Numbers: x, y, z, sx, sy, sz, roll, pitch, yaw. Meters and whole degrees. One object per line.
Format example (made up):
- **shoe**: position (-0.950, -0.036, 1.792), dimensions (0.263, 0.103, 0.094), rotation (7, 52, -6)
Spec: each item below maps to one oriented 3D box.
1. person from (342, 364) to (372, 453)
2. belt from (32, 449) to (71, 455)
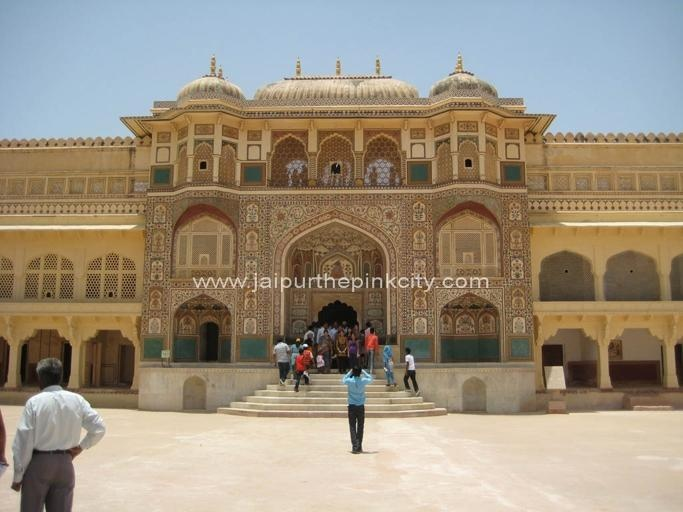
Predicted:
- **person**: position (0.264, 2.662, 13.163), dimensions (0.446, 1.433, 0.640), rotation (-1, -9, 1)
- **belt**: position (-3.259, 2.209, 8.552), dimensions (0.367, 0.048, 0.068), rotation (1, -9, -8)
